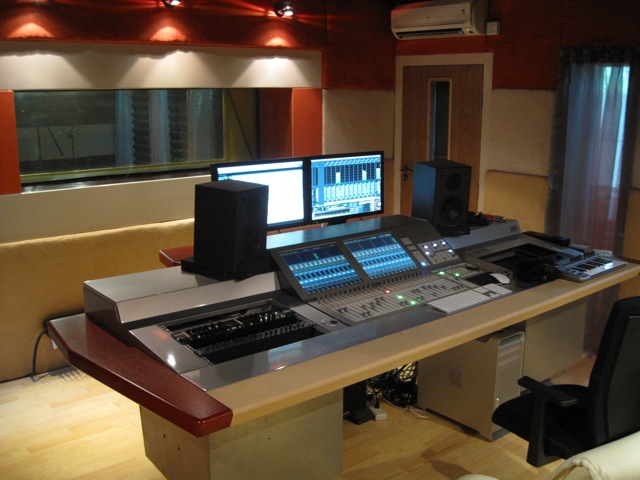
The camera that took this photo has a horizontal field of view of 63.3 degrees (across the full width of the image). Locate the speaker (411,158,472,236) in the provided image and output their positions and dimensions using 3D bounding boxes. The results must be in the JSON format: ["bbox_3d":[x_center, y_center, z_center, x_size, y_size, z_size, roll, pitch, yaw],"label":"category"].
[{"bbox_3d":[0.841,-0.307,3.557,0.304,0.453,0.372,-8,17,-27],"label":"speaker"}]

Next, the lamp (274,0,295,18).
[{"bbox_3d":[-0.307,-2.036,4.576,0.117,0.127,0.144,-6,22,-26],"label":"lamp"}]

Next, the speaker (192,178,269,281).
[{"bbox_3d":[-0.463,-0.101,2.752,0.421,0.482,0.395,-8,21,-33],"label":"speaker"}]

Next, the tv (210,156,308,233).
[{"bbox_3d":[-0.341,-0.283,3.149,0.587,0.422,0.057,-2,19,15],"label":"tv"}]

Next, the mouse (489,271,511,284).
[{"bbox_3d":[1.083,0.220,3.073,0.105,0.030,0.138,-7,15,-8],"label":"mouse"}]
